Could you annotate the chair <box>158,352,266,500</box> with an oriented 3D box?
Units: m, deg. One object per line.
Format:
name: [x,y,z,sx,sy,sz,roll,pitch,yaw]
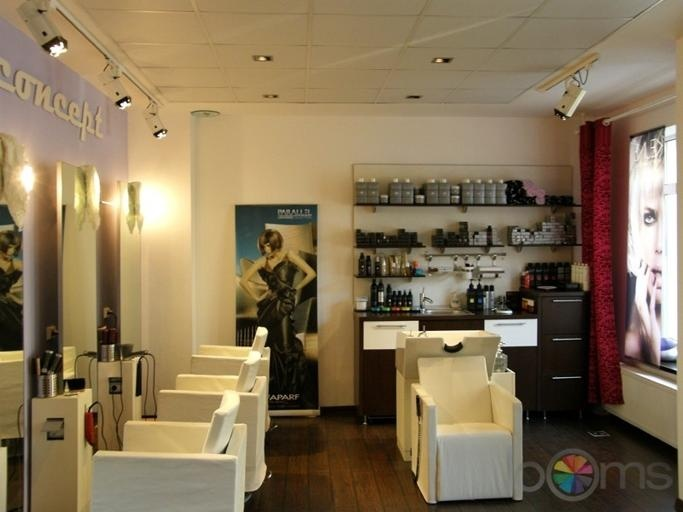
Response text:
chair: [-1.103,1.488,5.416,1.198,1.132,1.246,1,-6,2]

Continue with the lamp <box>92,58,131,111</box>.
lamp: [-2.115,-1.628,5.363,0.280,0.463,0.138,-33,4,8]

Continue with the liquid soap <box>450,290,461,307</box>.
liquid soap: [1.515,0.568,7.365,0.168,0.213,0.062,-1,8,0]

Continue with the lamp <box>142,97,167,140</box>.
lamp: [-2.146,-1.579,6.526,0.213,0.413,0.938,-3,9,-15]

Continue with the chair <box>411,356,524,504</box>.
chair: [1.103,1.728,5.706,0.992,1.480,1.138,0,-11,0]
